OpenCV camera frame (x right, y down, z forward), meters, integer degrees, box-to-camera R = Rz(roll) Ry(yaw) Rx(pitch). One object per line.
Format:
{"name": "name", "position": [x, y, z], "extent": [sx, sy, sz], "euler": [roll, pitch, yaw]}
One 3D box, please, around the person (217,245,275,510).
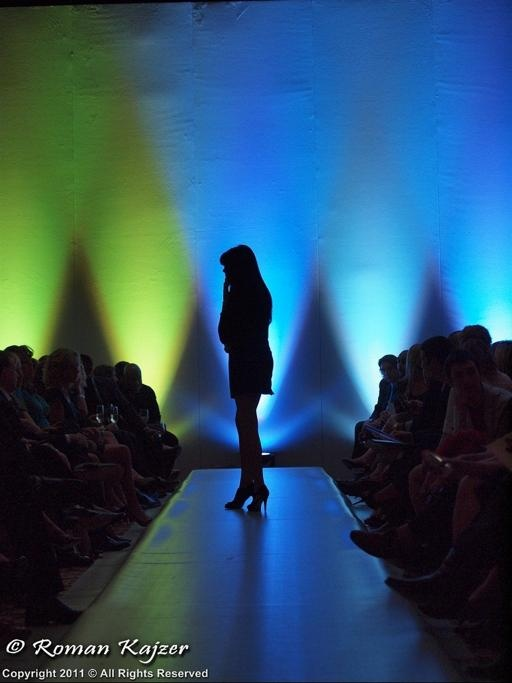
{"name": "person", "position": [-0.053, 0.160, 2.408], "extent": [0.229, 1.173, 0.433], "euler": [0, 7, -4]}

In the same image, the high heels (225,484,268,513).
{"name": "high heels", "position": [-0.034, 0.669, 2.338], "extent": [0.083, 0.112, 0.239], "euler": [-27, 6, -42]}

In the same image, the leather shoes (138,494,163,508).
{"name": "leather shoes", "position": [-0.743, 1.137, 3.903], "extent": [0.173, 0.141, 0.061], "euler": [-1, 11, -13]}

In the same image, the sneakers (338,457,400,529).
{"name": "sneakers", "position": [0.666, 0.873, 3.181], "extent": [0.207, 0.301, 0.689], "euler": [4, -4, -12]}

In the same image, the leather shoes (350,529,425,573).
{"name": "leather shoes", "position": [0.403, 0.661, 1.738], "extent": [0.242, 0.130, 0.092], "euler": [-2, 8, -24]}

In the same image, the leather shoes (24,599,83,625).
{"name": "leather shoes", "position": [-0.670, 0.911, 1.839], "extent": [0.158, 0.076, 0.103], "euler": [0, 8, -12]}
